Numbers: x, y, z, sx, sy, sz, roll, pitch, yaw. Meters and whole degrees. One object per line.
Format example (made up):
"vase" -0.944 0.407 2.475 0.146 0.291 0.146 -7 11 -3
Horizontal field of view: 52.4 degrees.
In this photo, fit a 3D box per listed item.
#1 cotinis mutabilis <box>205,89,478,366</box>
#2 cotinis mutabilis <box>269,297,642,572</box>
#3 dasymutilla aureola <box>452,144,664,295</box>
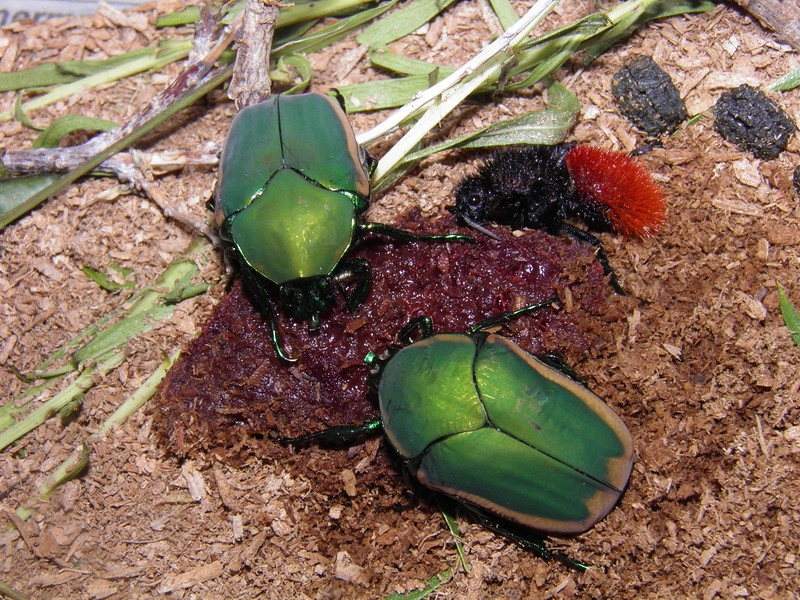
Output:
"cotinis mutabilis" -0.446 -0.359 3.672 1.004 0.312 1.061 -15 76 6
"cotinis mutabilis" 0.373 0.525 3.426 1.128 0.376 0.883 31 82 10
"dasymutilla aureola" 0.768 -0.517 3.935 0.970 0.315 0.584 16 62 0
